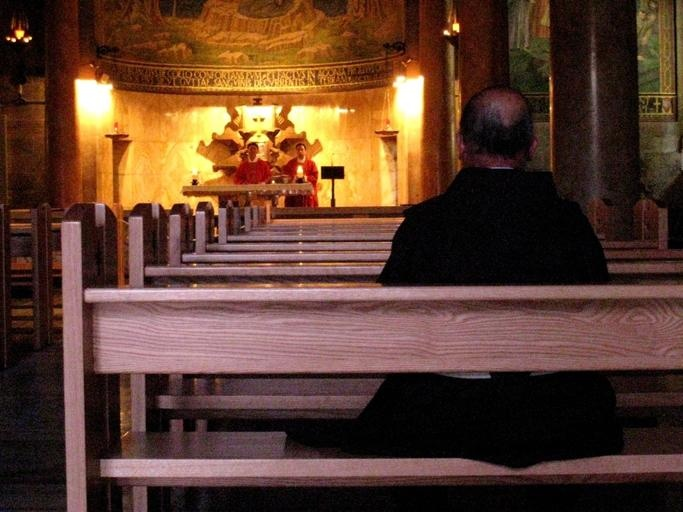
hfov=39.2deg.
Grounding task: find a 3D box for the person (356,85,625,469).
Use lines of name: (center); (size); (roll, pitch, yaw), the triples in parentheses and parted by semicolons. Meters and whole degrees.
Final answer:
person: (0.701, 0.051, 4.504); (1.473, 1.592, 1.063); (0, 9, -11)
